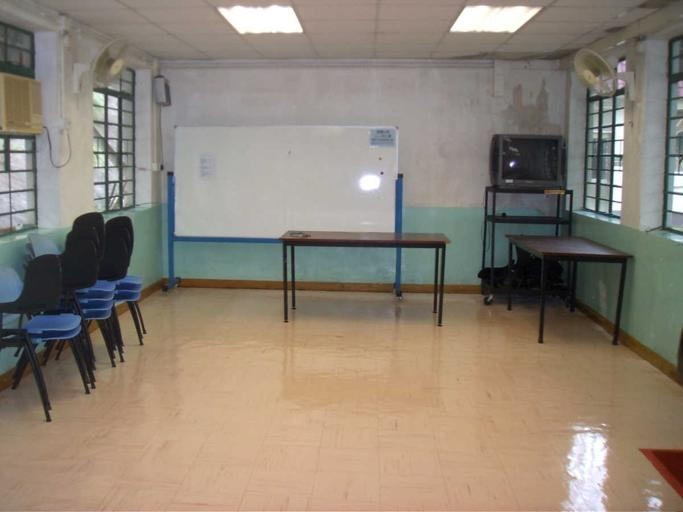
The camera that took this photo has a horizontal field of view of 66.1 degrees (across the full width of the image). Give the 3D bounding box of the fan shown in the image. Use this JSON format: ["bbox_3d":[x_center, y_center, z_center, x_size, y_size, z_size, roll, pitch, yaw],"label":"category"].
[{"bbox_3d":[2.698,-1.836,5.364,0.712,0.474,0.327,-8,16,-32],"label":"fan"}]

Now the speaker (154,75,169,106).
[{"bbox_3d":[-2.483,-2.268,7.198,0.210,0.365,0.376,-2,10,0],"label":"speaker"}]

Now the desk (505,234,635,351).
[{"bbox_3d":[2.549,0.318,6.030,1.049,0.996,1.336,1,13,4],"label":"desk"}]

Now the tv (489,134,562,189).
[{"bbox_3d":[2.346,-1.195,7.047,1.103,0.765,0.654,-3,6,-23],"label":"tv"}]

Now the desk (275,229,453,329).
[{"bbox_3d":[0.267,0.248,6.280,1.883,0.985,0.690,1,9,2],"label":"desk"}]

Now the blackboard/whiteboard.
[{"bbox_3d":[-0.724,-0.988,7.224,3.144,1.539,0.078,0,4,-4],"label":"blackboard/whiteboard"}]
